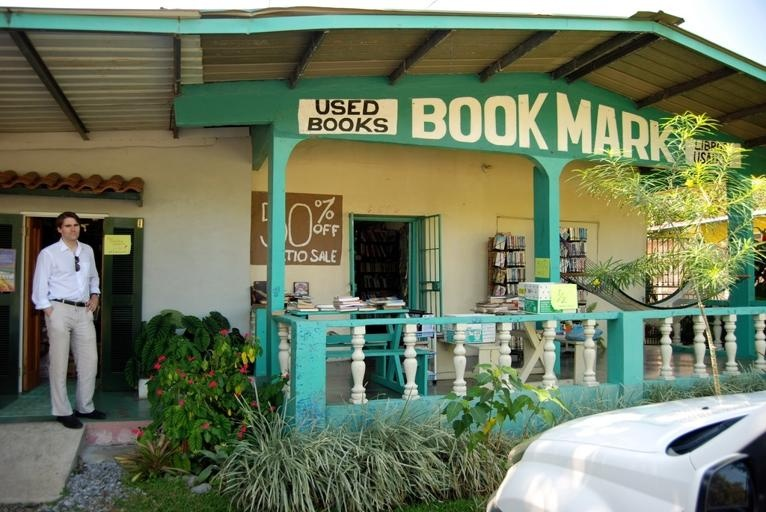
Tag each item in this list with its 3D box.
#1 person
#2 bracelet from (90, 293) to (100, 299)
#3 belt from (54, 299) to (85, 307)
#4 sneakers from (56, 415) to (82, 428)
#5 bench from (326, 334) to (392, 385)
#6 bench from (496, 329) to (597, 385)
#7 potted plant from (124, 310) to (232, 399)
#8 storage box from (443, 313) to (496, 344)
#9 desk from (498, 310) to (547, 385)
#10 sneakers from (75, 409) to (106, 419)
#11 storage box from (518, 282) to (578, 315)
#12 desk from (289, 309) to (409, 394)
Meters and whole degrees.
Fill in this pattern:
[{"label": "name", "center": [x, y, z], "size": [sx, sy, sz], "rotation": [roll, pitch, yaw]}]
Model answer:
[{"label": "person", "center": [-3.342, 0.661, 6.794], "size": [0.355, 2.317, 0.694], "rotation": [-5, -5, 37]}, {"label": "bracelet", "center": [-3.169, 0.435, 6.981], "size": [0.067, 0.047, 0.067], "rotation": [6, -7, -42]}, {"label": "belt", "center": [-3.340, 0.494, 6.737], "size": [0.308, 0.092, 0.080], "rotation": [0, -4, -32]}, {"label": "sneakers", "center": [-3.278, 1.745, 6.623], "size": [0.248, 0.093, 0.127], "rotation": [3, 0, 17]}, {"label": "bench", "center": [-0.302, 1.346, 8.265], "size": [1.146, 0.648, 0.371], "rotation": [0, 0, -7]}, {"label": "bench", "center": [2.006, 1.237, 7.722], "size": [0.666, 0.621, 1.006], "rotation": [1, -2, -11]}, {"label": "potted plant", "center": [-2.386, 1.088, 7.328], "size": [1.046, 0.899, 1.661], "rotation": [0, -3, -25]}, {"label": "storage box", "center": [1.230, 1.031, 8.398], "size": [0.717, 0.408, 0.677], "rotation": [0, 1, -1]}, {"label": "desk", "center": [1.653, 1.071, 7.483], "size": [0.703, 0.719, 1.098], "rotation": [2, -7, -4]}, {"label": "sneakers", "center": [-3.174, 1.730, 6.916], "size": [0.335, 0.126, 0.117], "rotation": [0, 0, -12]}, {"label": "storage box", "center": [1.887, 0.439, 7.432], "size": [0.459, 0.264, 0.436], "rotation": [0, 1, -5]}, {"label": "desk", "center": [-0.562, 1.227, 8.651], "size": [1.576, 0.980, 1.307], "rotation": [4, -7, -1]}]
